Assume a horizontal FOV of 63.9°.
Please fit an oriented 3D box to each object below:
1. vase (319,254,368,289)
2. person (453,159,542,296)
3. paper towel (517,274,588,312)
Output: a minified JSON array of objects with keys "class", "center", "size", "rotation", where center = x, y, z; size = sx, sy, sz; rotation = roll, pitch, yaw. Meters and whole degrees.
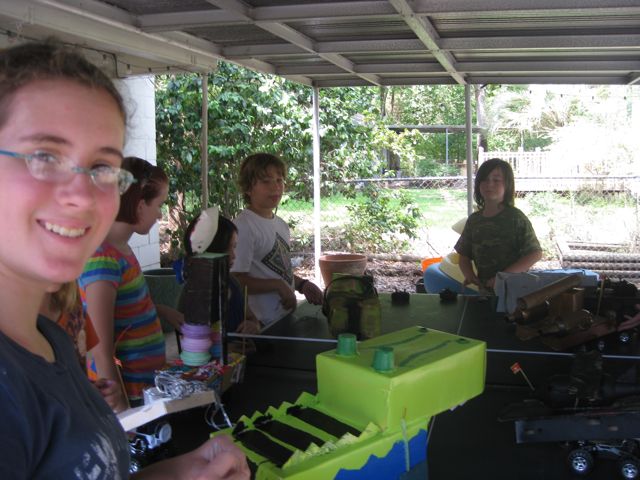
[{"class":"vase","center":[0.261,0.368,6.315],"size":[0.499,0.334,0.476],"rotation":[1,1,0]},{"class":"person","center":[1.286,-0.124,3.822],"size":[0.530,0.963,0.707],"rotation":[0,3,-10]},{"class":"paper towel","center":[1.030,0.246,2.268],"size":[0.262,0.058,0.053],"rotation":[-27,-12,3]}]
